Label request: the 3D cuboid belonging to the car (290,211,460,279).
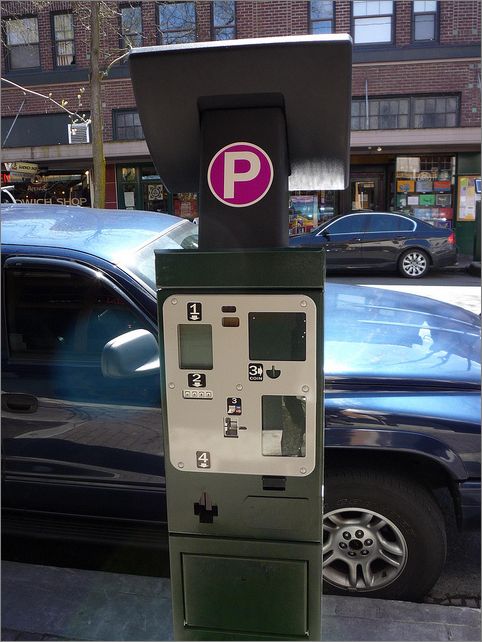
[{"bbox_3d":[2.631,-1.432,12.065,3.722,1.292,1.529,3,9,3],"label":"car"}]
